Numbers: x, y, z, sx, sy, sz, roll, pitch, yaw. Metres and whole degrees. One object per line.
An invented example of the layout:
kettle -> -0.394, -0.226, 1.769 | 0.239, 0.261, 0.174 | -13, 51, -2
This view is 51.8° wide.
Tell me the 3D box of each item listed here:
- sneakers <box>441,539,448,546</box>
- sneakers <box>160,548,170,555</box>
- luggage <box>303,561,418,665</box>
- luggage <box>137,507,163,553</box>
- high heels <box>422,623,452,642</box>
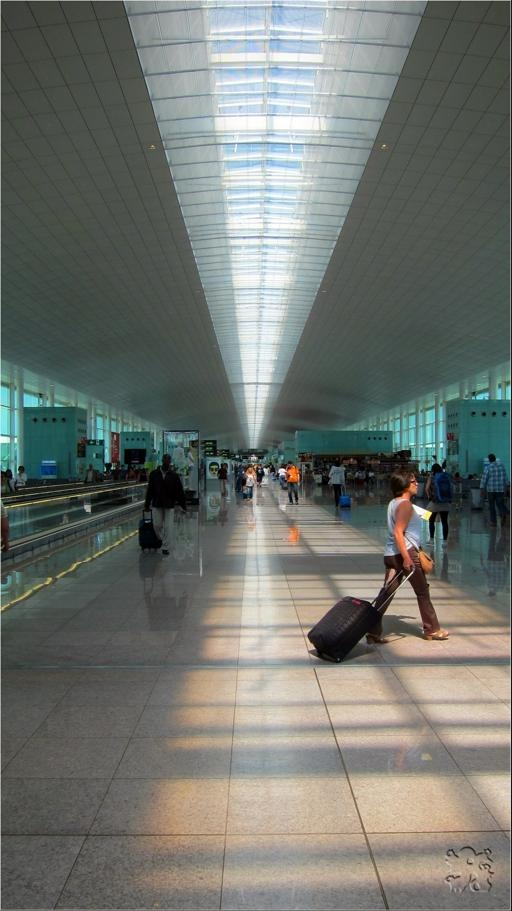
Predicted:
sneakers -> 4.262, 1.962, 11.899 | 0.121, 0.247, 0.139 | -2, -8, 18
sneakers -> -1.865, 1.981, 10.833 | 0.117, 0.137, 0.115 | 1, 0, -43
luggage -> 0.890, 1.526, 4.772 | 0.414, 0.609, 1.018 | -7, -2, 42
luggage -> -2.256, 1.625, 11.151 | 0.449, 0.849, 0.864 | -4, -2, -12
high heels -> 1.708, 1.684, 5.013 | 0.201, 0.172, 0.128 | 1, -4, -1
